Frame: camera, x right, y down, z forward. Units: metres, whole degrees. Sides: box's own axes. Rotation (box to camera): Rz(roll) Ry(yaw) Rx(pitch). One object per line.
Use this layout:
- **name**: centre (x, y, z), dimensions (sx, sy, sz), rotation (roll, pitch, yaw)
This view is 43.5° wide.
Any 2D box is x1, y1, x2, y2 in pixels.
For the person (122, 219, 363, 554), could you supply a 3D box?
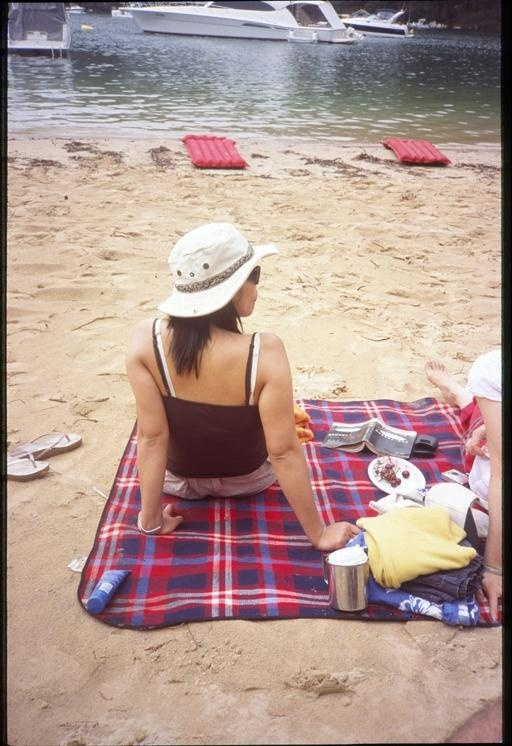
- **person**: centre (-0.051, 0.070, 2.284), dimensions (0.765, 1.170, 0.452), rotation (4, 16, 11)

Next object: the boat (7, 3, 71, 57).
- **boat**: centre (-5.935, -9.397, 17.632), dimensions (1.591, 1.538, 2.231), rotation (-4, 15, -16)

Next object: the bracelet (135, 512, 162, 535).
- **bracelet**: centre (-0.403, 0.580, 2.456), dimensions (0.058, 0.032, 0.094), rotation (3, 18, -1)

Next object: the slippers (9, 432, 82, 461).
- **slippers**: centre (-0.999, 0.354, 3.017), dimensions (0.178, 0.064, 0.338), rotation (11, 17, 36)

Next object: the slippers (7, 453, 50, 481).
- **slippers**: centre (-1.023, 0.428, 2.808), dimensions (0.202, 0.064, 0.121), rotation (4, 15, 16)
